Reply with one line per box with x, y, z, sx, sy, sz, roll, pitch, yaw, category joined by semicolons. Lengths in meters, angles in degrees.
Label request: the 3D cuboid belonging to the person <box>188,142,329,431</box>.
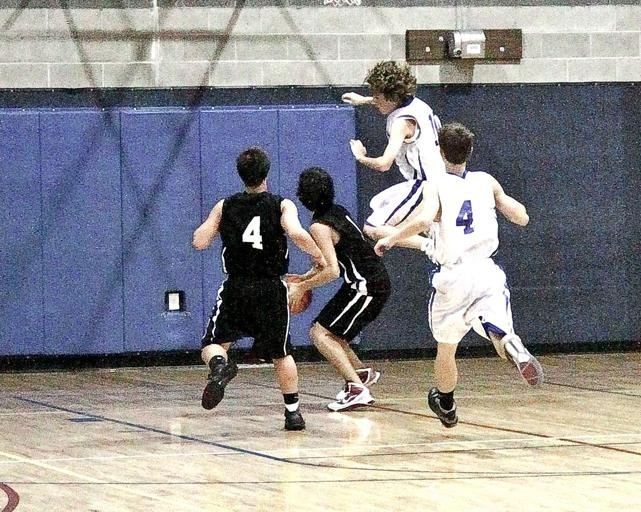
-0.432;0.247;7.247;0.865;1.924;0.479;-6;7;-11;person

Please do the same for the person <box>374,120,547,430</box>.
0.974;0.187;7.018;1.145;1.986;1.307;-7;10;-21;person

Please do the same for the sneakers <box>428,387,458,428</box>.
0.796;0.985;7.290;0.128;0.147;0.344;-10;34;-6;sneakers

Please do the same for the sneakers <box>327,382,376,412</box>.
0.214;1.037;8.043;0.430;0.251;0.146;-9;-15;6;sneakers
